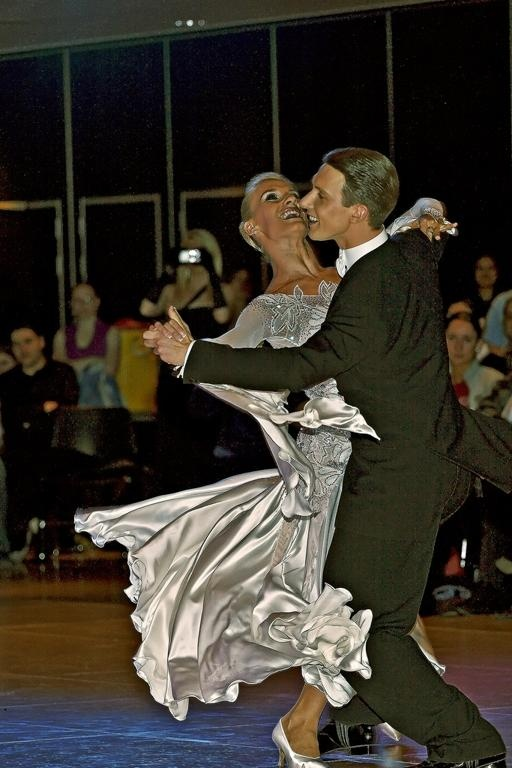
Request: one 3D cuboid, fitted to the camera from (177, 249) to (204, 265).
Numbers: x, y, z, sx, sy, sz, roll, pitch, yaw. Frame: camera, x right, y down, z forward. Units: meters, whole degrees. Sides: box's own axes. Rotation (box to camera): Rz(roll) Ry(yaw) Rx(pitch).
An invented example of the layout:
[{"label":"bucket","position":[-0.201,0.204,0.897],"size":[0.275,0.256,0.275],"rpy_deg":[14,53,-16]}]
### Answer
[{"label":"camera","position":[-0.511,-0.970,6.686],"size":[0.201,0.110,0.061],"rpy_deg":[-5,-3,38]}]
